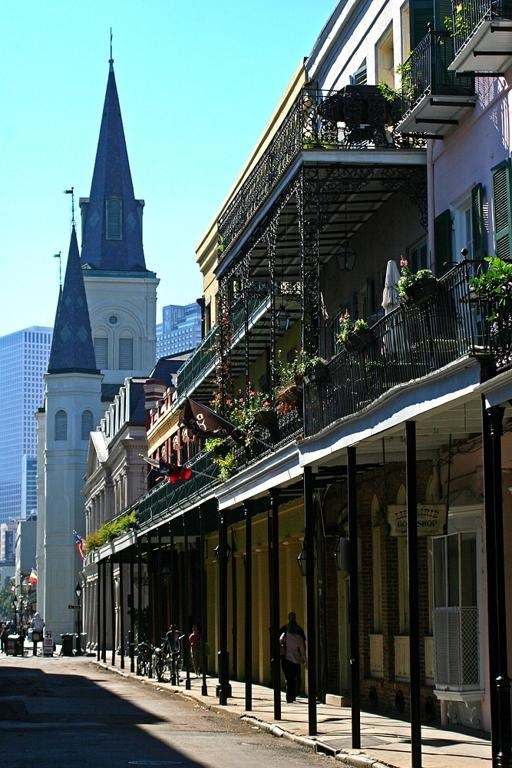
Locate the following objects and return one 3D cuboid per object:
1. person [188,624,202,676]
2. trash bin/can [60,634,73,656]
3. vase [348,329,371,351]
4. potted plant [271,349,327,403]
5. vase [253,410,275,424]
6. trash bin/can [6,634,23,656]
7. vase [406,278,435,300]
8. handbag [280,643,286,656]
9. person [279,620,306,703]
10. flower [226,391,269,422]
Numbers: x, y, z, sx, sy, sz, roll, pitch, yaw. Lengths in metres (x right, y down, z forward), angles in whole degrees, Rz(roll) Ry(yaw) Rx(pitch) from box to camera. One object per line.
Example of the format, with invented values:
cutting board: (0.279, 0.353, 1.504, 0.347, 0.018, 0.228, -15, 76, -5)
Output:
person: (-1.352, 5.961, 31.419, 0.365, 1.192, 0.420, -1, 9, 4)
trash bin/can: (-7.734, 10.731, 57.617, 0.376, 0.799, 1.126, 0, -14, -14)
vase: (1.051, -0.442, 14.097, 0.155, 0.156, 0.194, 7, -18, -23)
potted plant: (0.568, -0.158, 17.796, 0.424, 0.547, 1.150, 2, -16, -22)
vase: (0.120, 0.469, 20.660, 0.258, 0.220, 0.531, -2, -15, -5)
trash bin/can: (-9.372, 10.202, 54.860, 0.596, 0.854, 2.489, 0, -15, -11)
vase: (1.397, -0.810, 11.943, 0.125, 0.071, 0.195, -27, -6, -37)
handbag: (0.378, 3.914, 20.590, 0.046, 0.174, 0.141, 3, -14, -26)
person: (0.526, 4.041, 20.618, 0.370, 1.255, 0.878, -2, -12, 0)
flower: (-0.107, 0.492, 23.451, 0.552, 0.347, 0.536, -2, 21, 41)
